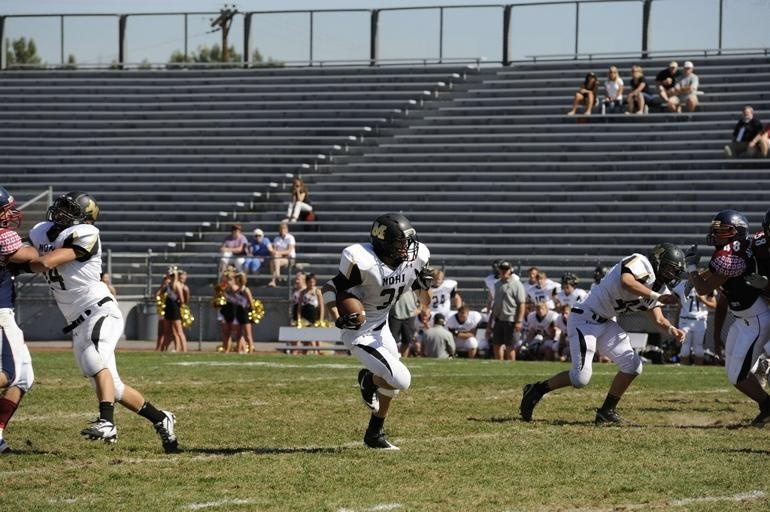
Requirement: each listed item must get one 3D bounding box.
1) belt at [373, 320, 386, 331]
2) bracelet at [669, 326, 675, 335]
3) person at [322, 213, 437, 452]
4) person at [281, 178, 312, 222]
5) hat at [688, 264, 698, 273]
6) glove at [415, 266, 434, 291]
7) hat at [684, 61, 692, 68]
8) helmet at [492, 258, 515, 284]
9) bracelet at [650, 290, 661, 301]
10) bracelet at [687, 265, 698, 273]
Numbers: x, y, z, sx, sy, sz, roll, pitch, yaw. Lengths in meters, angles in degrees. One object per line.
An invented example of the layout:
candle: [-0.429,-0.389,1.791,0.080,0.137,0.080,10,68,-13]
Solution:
belt: [-0.107,1.035,28.388,0.186,0.096,0.143,-28,-21,19]
bracelet: [4.849,1.157,29.273,0.041,0.108,0.122,2,15,-40]
person: [-0.116,1.136,28.318,1.595,3.740,0.660,1,1,-5]
person: [-2.013,-1.325,41.132,0.704,0.956,1.289,1,1,-2]
hat: [5.244,0.141,29.640,0.139,0.092,0.134,-2,0,8]
glove: [0.656,0.297,28.607,0.318,0.346,0.170,3,-11,7]
hat: [7.179,-4.494,41.202,0.247,0.129,0.374,5,11,11]
helmet: [2.453,0.214,35.829,0.351,0.402,0.654,1,1,-2]
bracelet: [4.548,0.592,29.277,0.173,0.188,0.402,1,1,30]
bracelet: [5.232,0.151,29.642,0.153,0.100,0.147,-1,-3,15]
